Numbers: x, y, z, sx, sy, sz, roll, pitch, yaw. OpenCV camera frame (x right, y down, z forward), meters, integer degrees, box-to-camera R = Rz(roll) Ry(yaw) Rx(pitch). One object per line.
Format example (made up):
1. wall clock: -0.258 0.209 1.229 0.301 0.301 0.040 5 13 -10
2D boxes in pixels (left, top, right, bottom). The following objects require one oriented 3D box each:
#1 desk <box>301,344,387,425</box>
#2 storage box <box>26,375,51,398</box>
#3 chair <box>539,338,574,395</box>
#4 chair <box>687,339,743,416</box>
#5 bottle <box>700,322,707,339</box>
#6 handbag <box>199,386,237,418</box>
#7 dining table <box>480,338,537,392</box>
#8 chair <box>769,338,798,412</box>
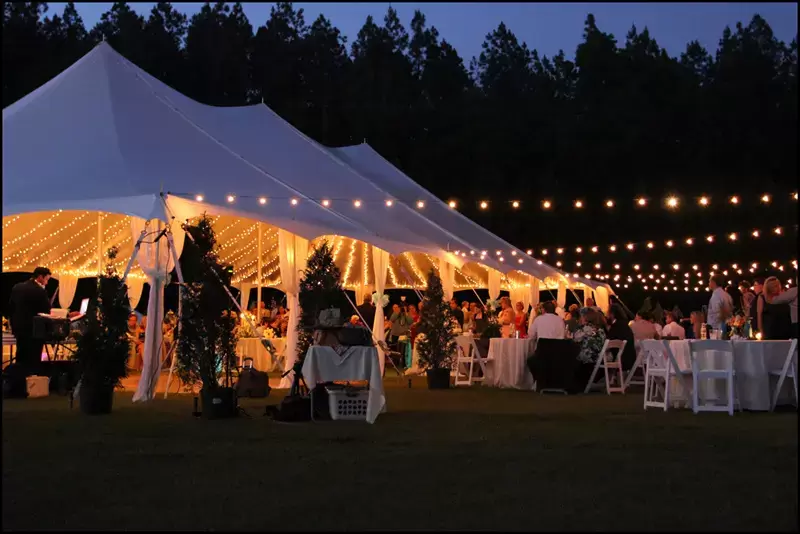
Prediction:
1. desk: -0.864 1.671 11.940 1.300 1.090 1.315 -1 -8 9
2. storage box: -5.920 1.953 13.550 0.350 0.342 0.471 6 -8 -24
3. chair: 2.780 1.748 14.519 0.782 1.073 0.805 0 -1 8
4. chair: 4.501 1.592 12.004 0.630 1.045 0.715 -1 -8 21
5. bottle: 4.811 0.994 13.208 0.082 0.283 0.625 0 -8 20
6. handbag: -2.476 1.875 11.772 0.541 0.436 0.531 -4 -4 -1
7. dining table: 2.045 1.850 15.879 0.936 0.898 0.893 -1 -11 13
8. chair: 5.537 1.559 12.068 0.352 1.025 0.696 -1 -8 23
